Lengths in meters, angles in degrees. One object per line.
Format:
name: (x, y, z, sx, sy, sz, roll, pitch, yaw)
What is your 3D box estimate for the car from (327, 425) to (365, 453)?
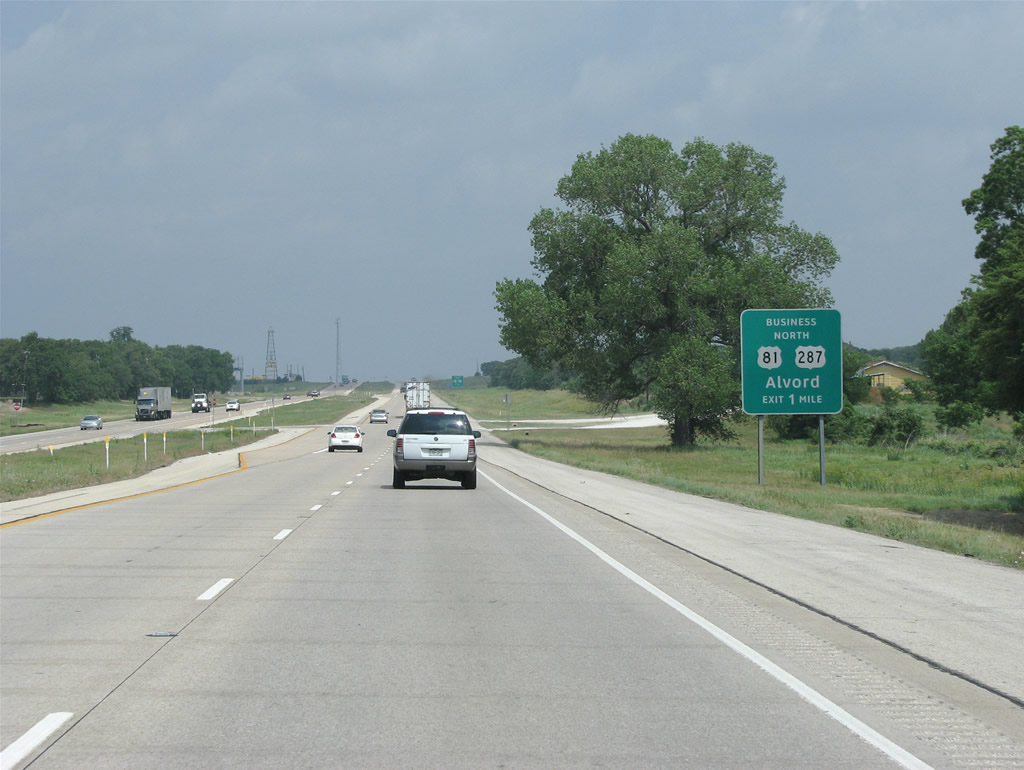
car: (-8.017, 2.643, 61.513, 0.989, 0.827, 2.269, 0, 5, -3)

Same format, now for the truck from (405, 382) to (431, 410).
truck: (-7.616, 0.837, 103.122, 2.158, 2.370, 3.607, 0, -5, -4)

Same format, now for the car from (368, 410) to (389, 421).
car: (-11.659, 2.609, 111.791, 1.077, 0.955, 2.459, -1, -4, -4)

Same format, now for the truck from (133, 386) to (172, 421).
truck: (-34.083, 1.659, 118.224, 1.830, 2.853, 5.132, -1, -5, -1)

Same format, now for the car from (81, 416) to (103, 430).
car: (-33.429, 2.992, 101.238, 1.006, 0.819, 1.701, 0, -9, -5)

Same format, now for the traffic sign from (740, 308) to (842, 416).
traffic sign: (7.779, -0.664, 35.146, 2.549, 3.068, 0.129, 0, -1, 5)

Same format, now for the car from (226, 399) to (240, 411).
car: (-31.301, 2.264, 142.620, 1.080, 0.940, 2.619, -1, -3, -8)

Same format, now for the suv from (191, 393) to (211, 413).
suv: (-34.848, 1.998, 142.177, 1.518, 1.675, 2.851, 0, -4, -4)

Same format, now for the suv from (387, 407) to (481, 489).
suv: (-1.980, 1.681, 32.381, 1.737, 1.526, 3.201, 0, 3, -4)
